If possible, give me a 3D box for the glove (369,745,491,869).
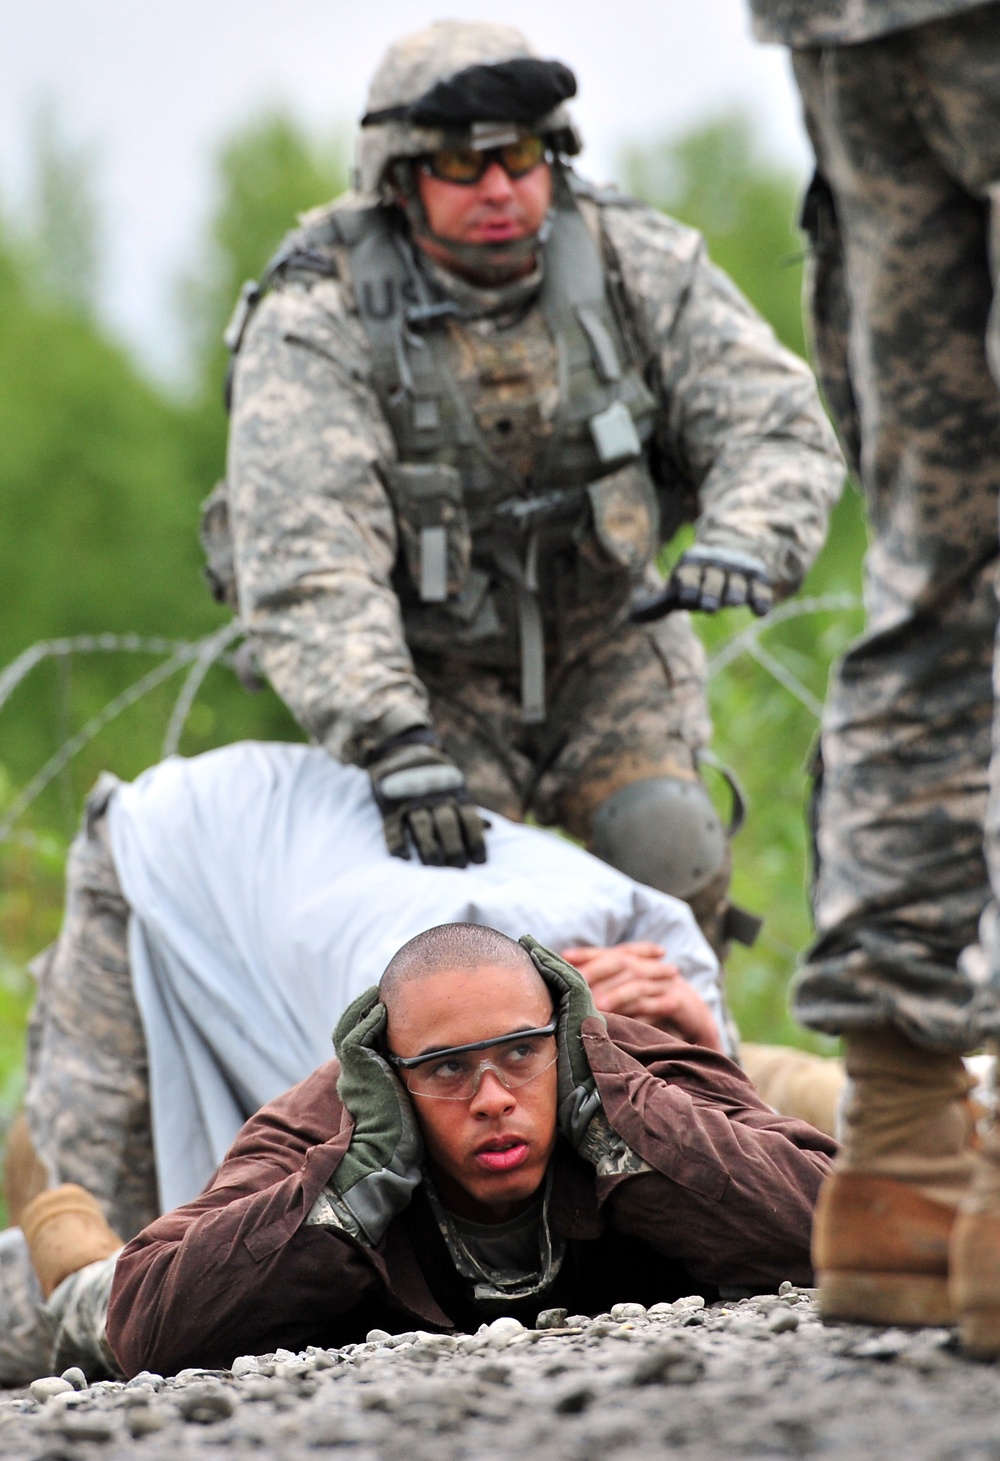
[{"bbox_3d":[-0.143,0.146,4.867,0.186,0.206,0.122,-12,-5,-1],"label":"glove"}]

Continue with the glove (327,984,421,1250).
[{"bbox_3d":[-0.207,0.665,4.267,0.117,0.304,0.242,4,-19,-2],"label":"glove"}]

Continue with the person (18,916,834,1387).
[{"bbox_3d":[-0.021,0.784,4.839,1.652,0.604,1.663,-5,-5,-14],"label":"person"}]

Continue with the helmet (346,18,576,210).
[{"bbox_3d":[-0.089,-1.249,4.989,0.464,0.284,0.302,-11,-5,-1],"label":"helmet"}]
